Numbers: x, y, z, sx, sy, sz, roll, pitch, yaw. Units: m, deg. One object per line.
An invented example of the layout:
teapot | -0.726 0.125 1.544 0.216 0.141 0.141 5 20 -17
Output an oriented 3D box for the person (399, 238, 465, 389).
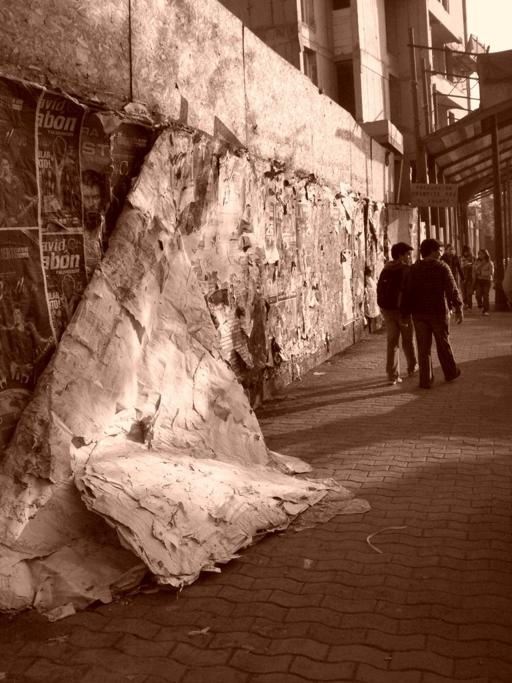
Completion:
person | 2.349 -0.235 7.374 0.729 1.687 0.707 -3 3 -32
